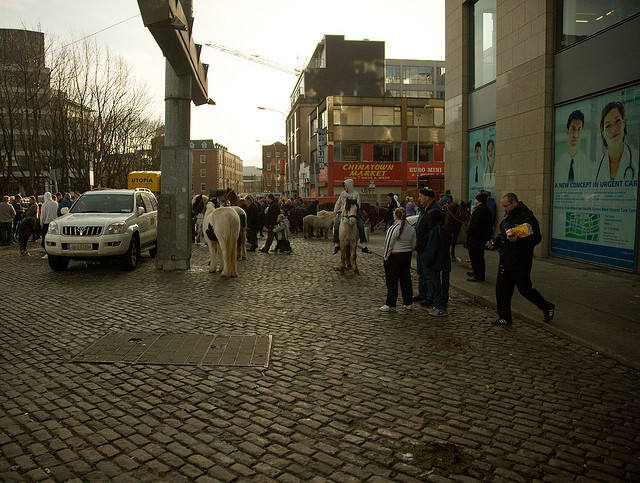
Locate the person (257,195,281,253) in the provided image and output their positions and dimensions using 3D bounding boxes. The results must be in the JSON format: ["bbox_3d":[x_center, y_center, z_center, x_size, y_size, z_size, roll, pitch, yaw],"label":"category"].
[{"bbox_3d":[-1.599,-0.573,20.790,0.572,2.250,0.765,13,2,-4],"label":"person"}]

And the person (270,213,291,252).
[{"bbox_3d":[-1.307,-0.255,19.563,0.598,1.510,1.642,0,9,-5],"label":"person"}]

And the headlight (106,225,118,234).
[{"bbox_3d":[-5.236,-0.292,14.521,0.148,0.106,0.229,3,35,-3],"label":"headlight"}]

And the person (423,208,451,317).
[{"bbox_3d":[2.139,0.374,10.539,0.479,1.914,0.494,4,9,22],"label":"person"}]

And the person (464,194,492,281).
[{"bbox_3d":[3.685,-0.080,13.305,0.574,2.075,0.602,3,8,17],"label":"person"}]

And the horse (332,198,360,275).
[{"bbox_3d":[0.792,-0.166,15.351,0.546,1.934,0.941,1,8,2],"label":"horse"}]

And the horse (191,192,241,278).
[{"bbox_3d":[-2.743,-0.135,15.294,0.704,2.188,2.954,0,1,-28],"label":"horse"}]

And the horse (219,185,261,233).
[{"bbox_3d":[-2.860,-1.165,20.523,0.477,1.454,1.660,16,11,41],"label":"horse"}]

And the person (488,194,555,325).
[{"bbox_3d":[3.380,0.334,9.788,1.005,2.258,0.538,3,8,18],"label":"person"}]

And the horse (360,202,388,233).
[{"bbox_3d":[3.163,-1.227,31.679,2.299,1.657,0.573,0,10,-19],"label":"horse"}]

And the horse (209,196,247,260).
[{"bbox_3d":[-2.743,-0.216,16.027,0.648,2.264,2.632,-1,1,-21],"label":"horse"}]

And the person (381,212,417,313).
[{"bbox_3d":[1.499,0.378,10.667,0.585,1.894,0.231,-1,8,-12],"label":"person"}]

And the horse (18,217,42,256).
[{"bbox_3d":[-10.077,-0.167,19.817,0.422,1.344,1.867,1,-1,-16],"label":"horse"}]

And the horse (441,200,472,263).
[{"bbox_3d":[3.571,-0.361,15.998,0.511,1.693,2.211,3,4,-13],"label":"horse"}]

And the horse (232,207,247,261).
[{"bbox_3d":[-2.481,-0.157,17.935,0.386,1.473,1.802,1,-7,-9],"label":"horse"}]

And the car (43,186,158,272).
[{"bbox_3d":[-5.874,-0.238,15.690,2.052,2.171,3.055,1,9,1],"label":"car"}]
